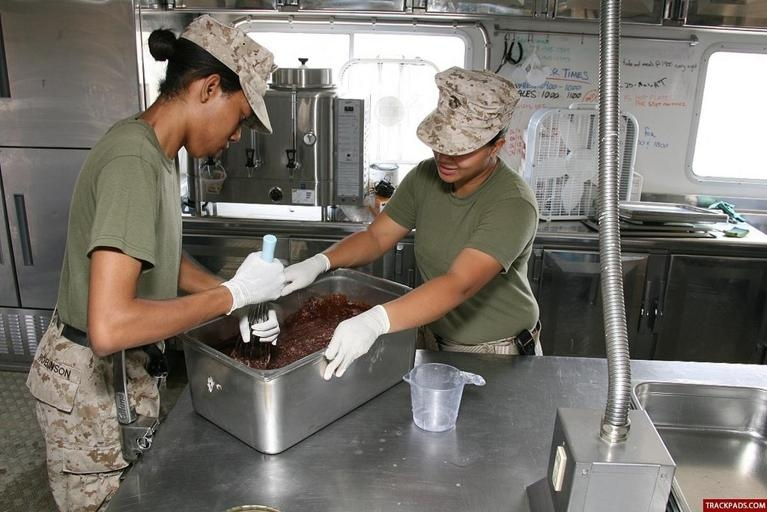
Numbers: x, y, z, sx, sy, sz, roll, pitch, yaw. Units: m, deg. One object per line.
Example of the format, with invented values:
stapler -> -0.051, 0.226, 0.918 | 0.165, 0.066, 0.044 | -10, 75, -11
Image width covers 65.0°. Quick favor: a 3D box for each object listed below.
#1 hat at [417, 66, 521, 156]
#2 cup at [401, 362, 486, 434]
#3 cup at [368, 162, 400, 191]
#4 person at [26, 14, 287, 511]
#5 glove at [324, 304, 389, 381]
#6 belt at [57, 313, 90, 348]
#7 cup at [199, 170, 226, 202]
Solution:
hat -> 0.339, -0.593, 2.485 | 0.319, 0.435, 0.144 | 40, -16, 22
cup -> 0.202, 0.522, 2.260 | 0.296, 0.194, 0.202 | 3, 15, -12
cup -> 0.010, -0.625, 4.459 | 0.250, 0.250, 0.194 | 2, 42, 7
person -> -0.881, 0.126, 2.345 | 0.863, 2.005, 0.746 | -4, 10, -33
glove -> -0.095, 0.301, 2.197 | 0.144, 0.075, 0.281 | 30, 26, 19
belt -> -1.222, 0.304, 2.381 | 0.124, 0.130, 0.049 | 22, 10, -9
cup -> -1.132, -0.478, 4.005 | 0.163, 0.140, 0.167 | 18, 27, -10
